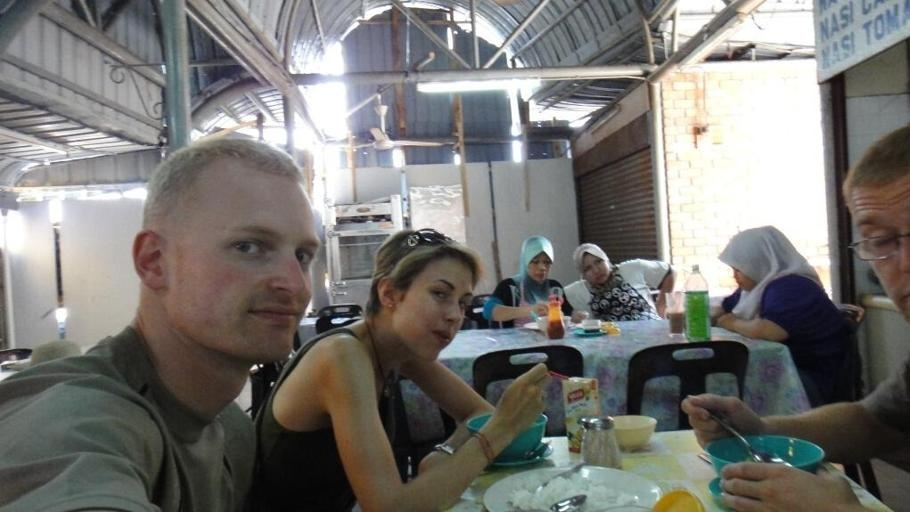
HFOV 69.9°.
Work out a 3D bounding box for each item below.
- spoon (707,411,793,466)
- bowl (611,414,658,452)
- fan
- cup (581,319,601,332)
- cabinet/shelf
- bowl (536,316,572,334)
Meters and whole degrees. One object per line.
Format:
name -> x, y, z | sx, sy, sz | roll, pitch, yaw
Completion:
spoon -> 1.668, 1.056, 3.707 | 0.450, 0.062, 0.085 | 34, 49, 26
bowl -> 1.062, 1.081, 3.927 | 0.334, 0.122, 0.326 | -2, -3, 0
fan -> -1.347, -2.261, 11.355 | 1.386, 0.456, 1.394 | 1, 6, 42
cup -> 1.153, 0.591, 5.507 | 0.113, 0.074, 0.114 | 0, -5, 0
cabinet/shelf -> -1.302, 0.081, 10.070 | 1.296, 1.818, 1.295 | -4, 7, -8
bowl -> 0.805, 0.600, 5.510 | 0.200, 0.124, 0.193 | -1, -1, 0
